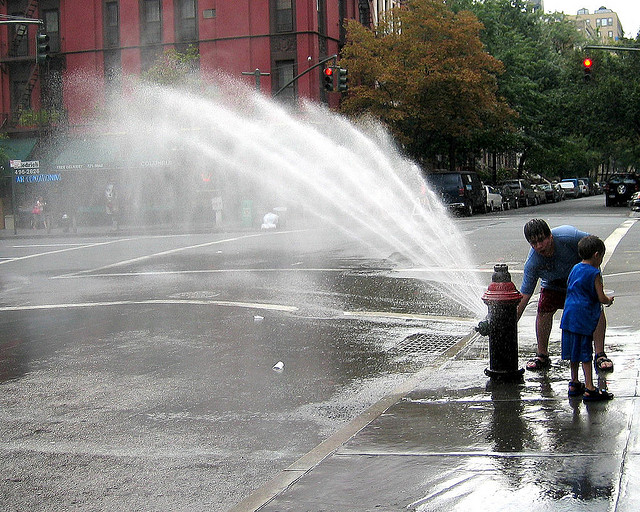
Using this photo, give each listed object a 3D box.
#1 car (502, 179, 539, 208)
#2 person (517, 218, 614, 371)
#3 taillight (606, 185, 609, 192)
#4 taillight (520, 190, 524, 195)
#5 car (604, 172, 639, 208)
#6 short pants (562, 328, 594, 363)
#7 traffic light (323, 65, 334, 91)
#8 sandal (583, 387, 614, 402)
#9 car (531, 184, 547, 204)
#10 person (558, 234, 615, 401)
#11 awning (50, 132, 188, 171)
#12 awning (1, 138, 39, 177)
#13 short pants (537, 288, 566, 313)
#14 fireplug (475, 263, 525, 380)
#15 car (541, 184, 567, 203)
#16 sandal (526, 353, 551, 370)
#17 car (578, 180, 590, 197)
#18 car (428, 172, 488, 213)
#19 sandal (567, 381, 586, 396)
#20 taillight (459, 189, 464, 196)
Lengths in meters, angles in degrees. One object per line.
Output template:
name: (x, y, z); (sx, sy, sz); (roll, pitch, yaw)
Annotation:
car: (11.765, -3.607, 52.796); (1.524, 1.522, 3.421); (1, 7, 26)
person: (2.255, 0.366, 8.691); (0.998, 1.599, 0.767); (-7, 14, 13)
taillight: (14.240, -3.307, 44.318); (0.060, 0.337, 0.199); (-2, 2, -3)
taillight: (11.771, -3.673, 52.352); (0.193, 0.288, 0.067); (2, 0, -10)
car: (15.204, -3.434, 45.124); (1.316, 1.203, 2.441); (0, 13, 21)
short pants: (2.168, 0.740, 7.529); (0.181, 0.343, 0.276); (0, 2, -27)
traffic light: (0.264, -5.889, 29.771); (0.248, 0.806, 0.781); (-1, 2, 17)
sandal: (2.303, 1.150, 7.425); (0.277, 0.120, 0.096); (-7, 8, -21)
car: (14.313, -3.976, 58.317); (0.828, 0.750, 2.021); (-2, 0, 12)
person: (2.241, 0.518, 7.550); (0.413, 1.357, 0.317); (-1, 2, 18)
awning: (-8.779, -4.933, 40.953); (6.658, 1.529, 2.816); (-5, -2, -24)
awning: (-14.850, -5.251, 44.442); (1.474, 1.065, 2.233); (-3, 2, -39)
short pants: (2.244, 0.424, 8.744); (0.346, 0.286, 0.199); (-5, 7, -28)
fireplug: (1.685, 0.609, 8.421); (0.435, 1.048, 0.354); (-2, 2, 12)
car: (16.744, -4.529, 64.518); (1.377, 1.095, 3.284); (0, 11, 23)
sandal: (2.109, 1.024, 8.673); (0.308, 0.126, 0.105); (-1, 2, -21)
car: (23.759, -6.037, 81.457); (1.349, 1.363, 2.722); (0, 11, 20)
car: (6.322, -2.739, 39.871); (1.469, 1.737, 6.663); (-1, 1, 24)
sandal: (2.172, 1.121, 7.600); (0.136, 0.118, 0.232); (-2, 1, 16)
taillight: (5.845, -2.617, 37.281); (0.180, 0.340, 0.183); (-2, 5, -3)
